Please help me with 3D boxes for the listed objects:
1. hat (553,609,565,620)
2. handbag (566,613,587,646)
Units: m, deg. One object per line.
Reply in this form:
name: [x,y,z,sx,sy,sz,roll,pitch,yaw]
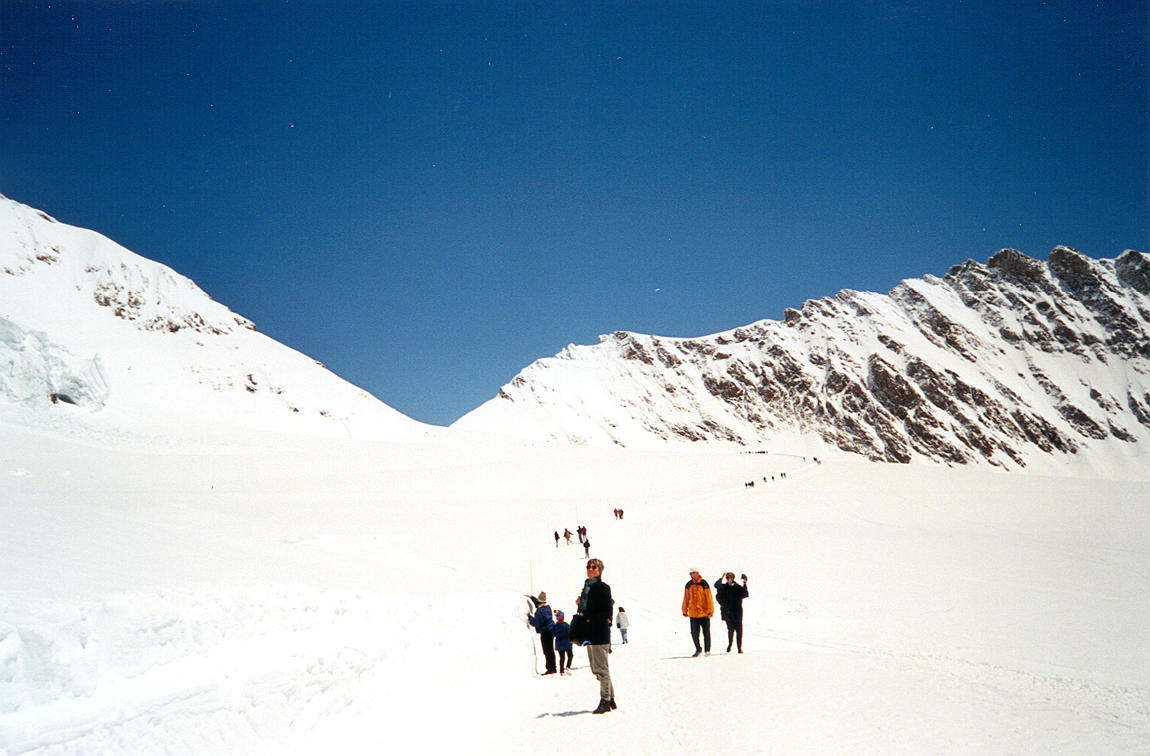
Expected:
hat: [-0.654,9.718,36.373,0.411,0.419,0.429,-3,-3,12]
handbag: [0.166,9.261,32.632,0.574,1.149,0.389,1,5,5]
